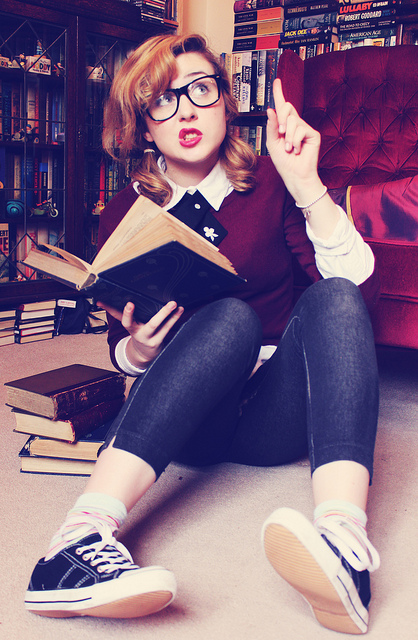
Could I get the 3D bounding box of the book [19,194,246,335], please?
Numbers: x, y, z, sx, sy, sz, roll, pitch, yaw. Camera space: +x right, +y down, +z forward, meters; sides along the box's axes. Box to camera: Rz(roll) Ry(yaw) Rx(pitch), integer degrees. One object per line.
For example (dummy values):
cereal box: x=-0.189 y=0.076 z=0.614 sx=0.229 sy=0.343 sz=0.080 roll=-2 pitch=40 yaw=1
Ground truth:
book: x=-0.099 y=-0.086 z=0.839 sx=0.385 sy=0.120 sz=0.359 roll=0 pitch=-14 yaw=-31

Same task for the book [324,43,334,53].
book: x=0.603 y=-1.376 z=2.574 sx=0.047 sy=0.045 sz=0.044 roll=2 pitch=14 yaw=7

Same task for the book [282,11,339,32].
book: x=0.517 y=-1.540 z=2.639 sx=0.143 sy=0.034 sz=0.146 roll=-1 pitch=9 yaw=20

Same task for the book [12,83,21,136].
book: x=-0.825 y=-0.905 z=2.187 sx=0.016 sy=0.204 sz=0.052 roll=10 pitch=16 yaw=34

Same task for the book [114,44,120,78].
book: x=-0.431 y=-1.219 z=2.380 sx=0.024 sy=0.125 sz=0.063 roll=-1 pitch=14 yaw=-5

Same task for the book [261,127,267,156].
book: x=0.303 y=-0.995 z=2.836 sx=0.030 sy=0.142 sz=0.062 roll=1 pitch=14 yaw=3

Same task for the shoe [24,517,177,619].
shoe: x=-0.137 y=0.288 z=0.600 sx=0.185 sy=0.092 sz=0.061 roll=-15 pitch=-34 yaw=25

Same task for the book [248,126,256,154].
book: x=0.244 y=-1.026 z=2.868 sx=0.018 sy=0.120 sz=0.069 roll=-8 pitch=16 yaw=-32

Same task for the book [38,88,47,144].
book: x=-0.731 y=-0.894 z=2.243 sx=0.027 sy=0.220 sz=0.048 roll=7 pitch=15 yaw=26

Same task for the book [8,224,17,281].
book: x=-0.859 y=-0.296 z=2.232 sx=0.040 sy=0.234 sz=0.104 roll=-4 pitch=14 yaw=-19

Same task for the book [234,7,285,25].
book: x=0.270 y=-1.654 z=2.791 sx=0.153 sy=0.036 sz=0.156 roll=2 pitch=12 yaw=33

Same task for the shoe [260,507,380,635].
shoe: x=0.125 y=0.260 z=0.580 sx=0.080 sy=0.214 sz=0.092 roll=-5 pitch=40 yaw=32

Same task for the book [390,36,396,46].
book: x=0.865 y=-1.318 z=2.407 sx=0.023 sy=0.043 sz=0.029 roll=4 pitch=14 yaw=15

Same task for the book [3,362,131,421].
book: x=-0.286 y=0.142 z=1.066 sx=0.132 sy=0.031 sz=0.135 roll=9 pitch=14 yaw=30

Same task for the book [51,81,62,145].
book: x=-0.674 y=-0.914 z=2.258 sx=0.062 sy=0.259 sz=0.025 roll=-1 pitch=14 yaw=-5

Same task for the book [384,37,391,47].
book: x=0.845 y=-1.319 z=2.419 sx=0.023 sy=0.045 sz=0.051 roll=1 pitch=14 yaw=2

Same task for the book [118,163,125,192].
book: x=-0.444 y=-0.728 z=2.593 sx=0.028 sy=0.128 sz=0.058 roll=-2 pitch=14 yaw=-9

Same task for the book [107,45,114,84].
book: x=-0.460 y=-1.187 z=2.373 sx=0.037 sy=0.163 sz=0.042 roll=-2 pitch=14 yaw=-11

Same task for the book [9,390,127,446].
book: x=-0.277 y=0.190 z=0.998 sx=0.139 sy=0.033 sz=0.142 roll=4 pitch=7 yaw=28
